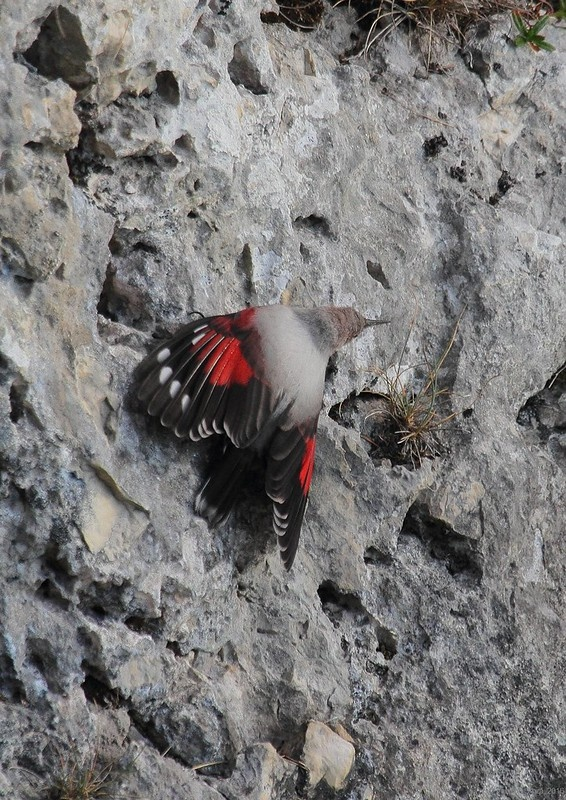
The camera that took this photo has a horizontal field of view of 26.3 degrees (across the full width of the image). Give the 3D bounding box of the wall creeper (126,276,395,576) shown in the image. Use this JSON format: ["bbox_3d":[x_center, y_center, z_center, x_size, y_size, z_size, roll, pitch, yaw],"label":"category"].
[{"bbox_3d":[-0.092,0.074,3.846,0.722,0.509,0.742,-4,86,-3],"label":"wall creeper"}]
